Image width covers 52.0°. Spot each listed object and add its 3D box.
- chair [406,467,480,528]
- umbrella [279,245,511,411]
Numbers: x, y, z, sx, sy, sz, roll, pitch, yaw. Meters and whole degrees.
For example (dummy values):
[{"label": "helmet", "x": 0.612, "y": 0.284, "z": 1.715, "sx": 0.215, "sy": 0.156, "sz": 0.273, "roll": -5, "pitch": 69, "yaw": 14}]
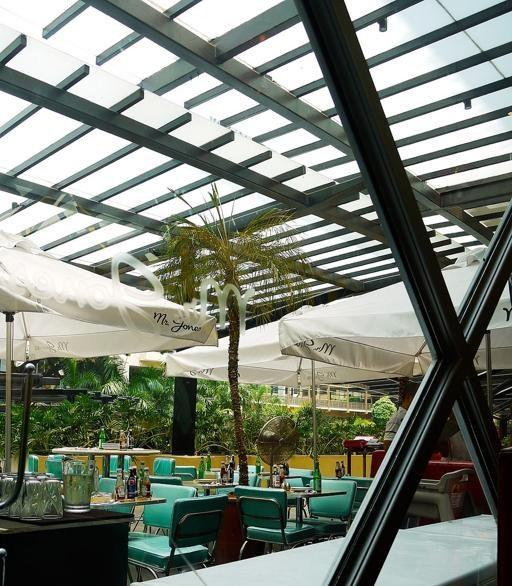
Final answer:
[{"label": "chair", "x": 0.891, "y": 1.017, "z": 2.598, "sx": 0.274, "sy": 0.261, "sz": 0.327, "roll": 17, "pitch": -25, "yaw": -38}, {"label": "umbrella", "x": 0.846, "y": 0.263, "z": 3.555, "sx": 1.176, "sy": 0.533, "sz": 1.155, "roll": -6, "pitch": -9, "yaw": 42}]
